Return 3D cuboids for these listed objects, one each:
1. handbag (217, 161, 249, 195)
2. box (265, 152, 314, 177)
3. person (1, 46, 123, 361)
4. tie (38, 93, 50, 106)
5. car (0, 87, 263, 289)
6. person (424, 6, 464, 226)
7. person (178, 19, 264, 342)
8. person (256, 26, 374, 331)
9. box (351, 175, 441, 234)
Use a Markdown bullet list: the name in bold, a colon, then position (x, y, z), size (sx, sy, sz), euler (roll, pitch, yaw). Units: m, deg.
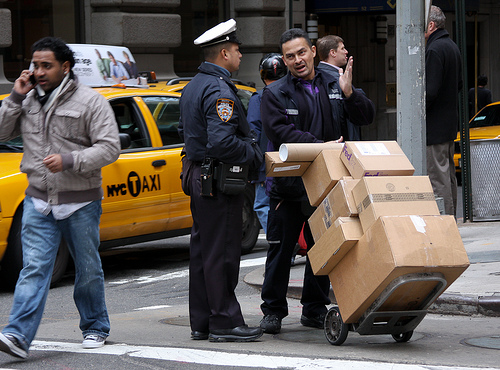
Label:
- **handbag**: position (-0.143, -0.056, 5.399), size (0.265, 0.247, 0.143), euler (2, 1, -34)
- **box**: position (0.302, -0.137, 5.317), size (0.346, 0.189, 0.238), euler (-7, 15, -26)
- **person**: position (-1.420, 0.107, 5.198), size (0.853, 2.305, 0.489), euler (-2, 2, -21)
- **tie**: position (-1.553, -0.644, 5.127), size (0.078, 0.071, 0.026), euler (-1, 2, 16)
- **car**: position (-1.682, -0.171, 8.640), size (1.627, 1.457, 3.897), euler (0, 2, 42)
- **person**: position (2.705, -1.029, 9.469), size (0.485, 2.980, 1.345), euler (-1, 2, 16)
- **person**: position (-0.223, -0.038, 5.440), size (0.675, 2.585, 0.498), euler (-2, 2, 0)
- **person**: position (0.509, -0.033, 6.016), size (0.932, 2.605, 1.460), euler (-2, 2, 0)
- **box**: position (1.058, 0.089, 4.883), size (0.620, 0.402, 0.141), euler (-3, -22, -23)
